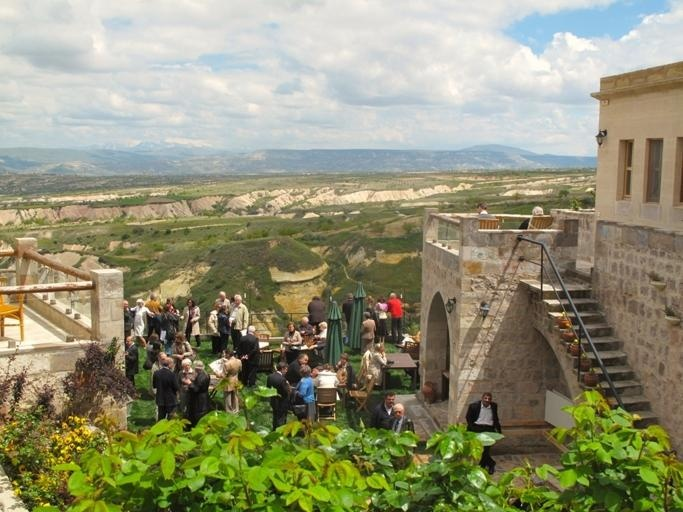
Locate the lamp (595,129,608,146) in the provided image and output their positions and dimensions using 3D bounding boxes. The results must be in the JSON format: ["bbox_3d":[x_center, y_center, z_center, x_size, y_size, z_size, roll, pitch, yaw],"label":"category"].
[{"bbox_3d":[6.913,-3.159,13.197,0.253,0.423,0.241,1,3,15],"label":"lamp"}]

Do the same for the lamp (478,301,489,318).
[{"bbox_3d":[3.890,1.467,13.456,0.297,0.482,0.174,0,3,-3],"label":"lamp"}]

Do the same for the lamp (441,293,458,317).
[{"bbox_3d":[3.217,1.409,14.307,0.457,0.810,0.318,5,9,35],"label":"lamp"}]

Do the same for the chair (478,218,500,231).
[{"bbox_3d":[4.140,-0.887,13.929,0.386,0.158,0.460,-1,12,-6],"label":"chair"}]

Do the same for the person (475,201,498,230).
[{"bbox_3d":[4.184,-1.127,14.382,0.770,0.808,1.025,0,9,8],"label":"person"}]

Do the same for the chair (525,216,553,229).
[{"bbox_3d":[5.721,-0.964,14.485,0.900,0.356,0.241,-1,9,-20],"label":"chair"}]
